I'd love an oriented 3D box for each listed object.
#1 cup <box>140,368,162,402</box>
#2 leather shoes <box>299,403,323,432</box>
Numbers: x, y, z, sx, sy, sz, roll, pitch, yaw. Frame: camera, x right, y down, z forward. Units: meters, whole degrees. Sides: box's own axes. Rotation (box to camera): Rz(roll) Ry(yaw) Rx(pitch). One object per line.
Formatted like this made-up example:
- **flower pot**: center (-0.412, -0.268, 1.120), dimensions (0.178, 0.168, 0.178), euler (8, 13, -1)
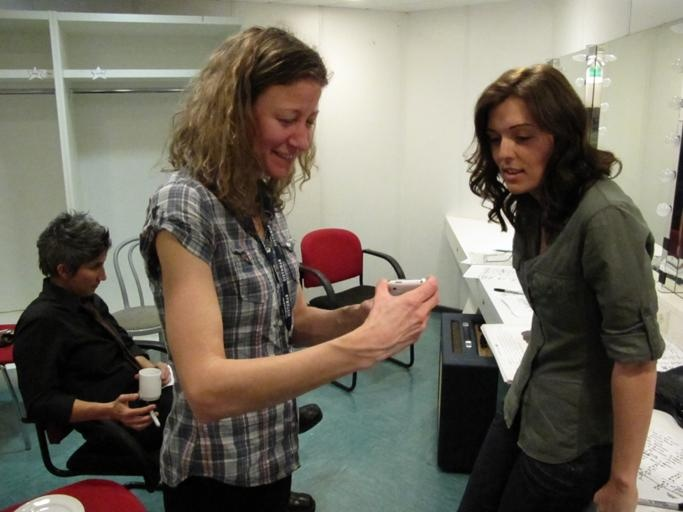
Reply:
- **cup**: center (-0.741, 0.508, 2.027), dimensions (0.082, 0.112, 0.130), euler (0, -1, -2)
- **leather shoes**: center (-0.145, 0.758, 2.441), dimensions (0.094, 0.050, 0.130), euler (13, 35, 37)
